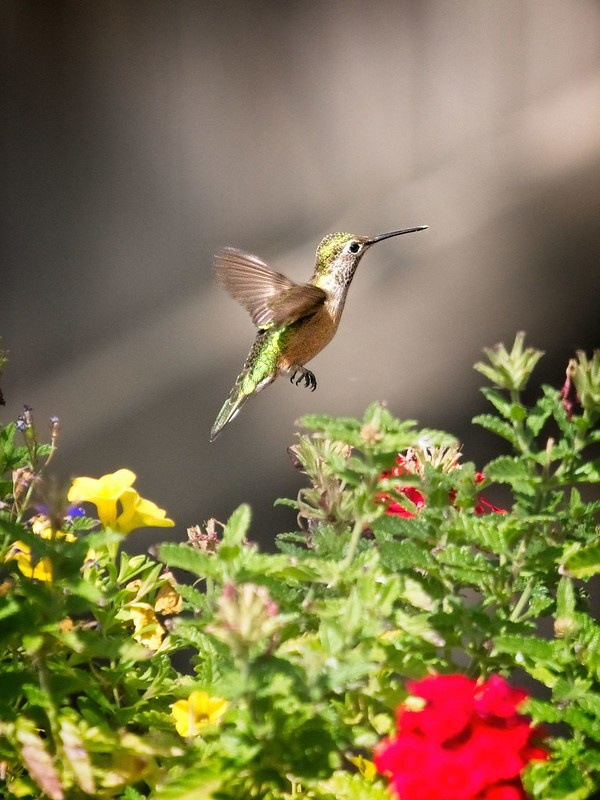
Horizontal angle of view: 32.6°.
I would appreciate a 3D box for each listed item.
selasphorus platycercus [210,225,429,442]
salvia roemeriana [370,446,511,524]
[{"bbox_3d":[0.018,-0.157,2.227,0.489,0.379,0.567,-7,4,-2],"label":"selasphorus platycercus"},{"bbox_3d":[0.144,0.107,1.190,0.147,0.105,0.109,-6,7,-23],"label":"salvia roemeriana"}]
